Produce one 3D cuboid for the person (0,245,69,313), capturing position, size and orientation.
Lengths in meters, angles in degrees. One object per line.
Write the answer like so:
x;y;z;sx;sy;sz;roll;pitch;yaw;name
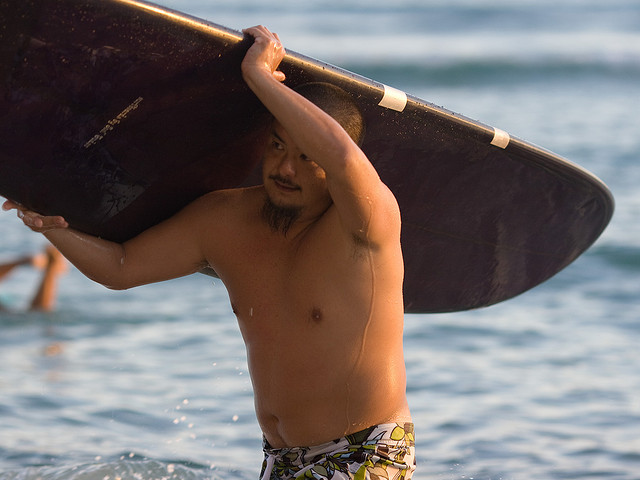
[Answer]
-2.735;0.422;14.990;0.730;0.246;0.694;7;54;-10;person
